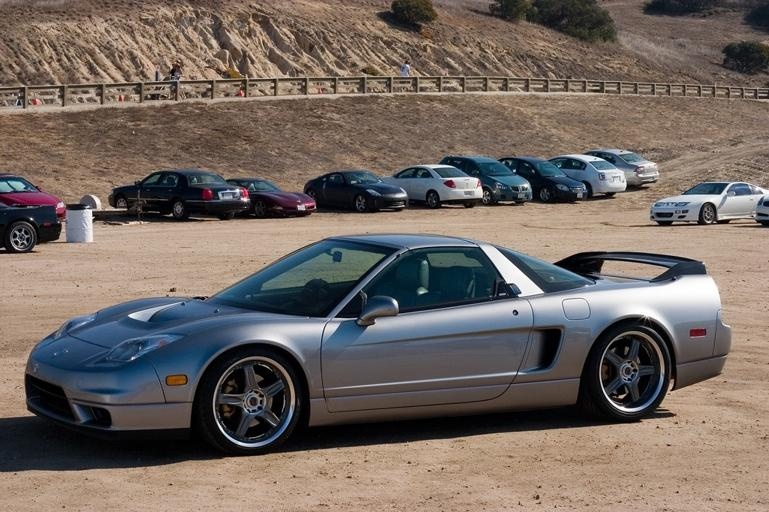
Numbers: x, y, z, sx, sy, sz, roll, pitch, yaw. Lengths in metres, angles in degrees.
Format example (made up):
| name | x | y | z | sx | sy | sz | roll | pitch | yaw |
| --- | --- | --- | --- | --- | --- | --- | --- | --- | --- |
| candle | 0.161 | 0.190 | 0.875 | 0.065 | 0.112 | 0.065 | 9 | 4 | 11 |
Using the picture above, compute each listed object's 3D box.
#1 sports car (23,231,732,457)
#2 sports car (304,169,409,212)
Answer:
| name | x | y | z | sx | sy | sz | roll | pitch | yaw |
| --- | --- | --- | --- | --- | --- | --- | --- | --- | --- |
| sports car | 0.010 | 1.015 | 14.184 | 8.345 | 2.391 | 1.301 | -2 | 14 | -12 |
| sports car | -0.932 | -2.284 | 37.582 | 2.006 | 1.016 | 3.752 | -12 | 16 | -41 |
